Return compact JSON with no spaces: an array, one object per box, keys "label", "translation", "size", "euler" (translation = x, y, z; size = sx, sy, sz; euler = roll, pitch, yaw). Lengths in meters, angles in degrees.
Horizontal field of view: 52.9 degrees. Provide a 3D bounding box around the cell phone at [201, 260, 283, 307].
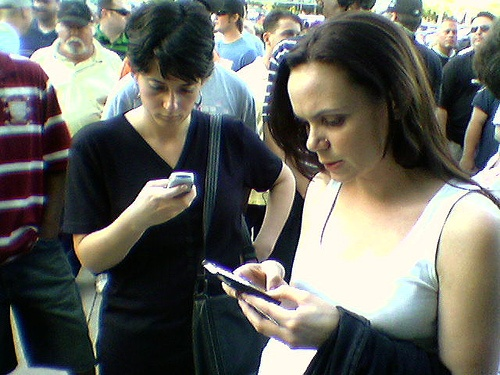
[{"label":"cell phone","translation":[-0.056,0.443,2.341],"size":[0.270,0.057,0.184],"euler":[34,-11,31]}]
